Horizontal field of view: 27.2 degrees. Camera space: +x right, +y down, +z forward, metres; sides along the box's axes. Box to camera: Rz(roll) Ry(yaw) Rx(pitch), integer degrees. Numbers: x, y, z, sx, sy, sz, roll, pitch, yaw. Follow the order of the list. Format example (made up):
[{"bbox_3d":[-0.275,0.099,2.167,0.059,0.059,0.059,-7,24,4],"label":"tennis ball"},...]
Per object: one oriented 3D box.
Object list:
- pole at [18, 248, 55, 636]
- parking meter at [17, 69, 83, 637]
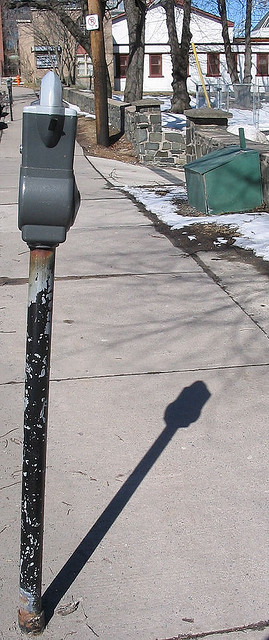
[{"bbox_3d":[-0.244,0.373,1.630,0.162,0.958,0.218,-2,17,-11],"label":"pole"},{"bbox_3d":[-0.222,0.148,1.642,0.225,1.507,0.309,-7,22,-27],"label":"parking meter"}]
